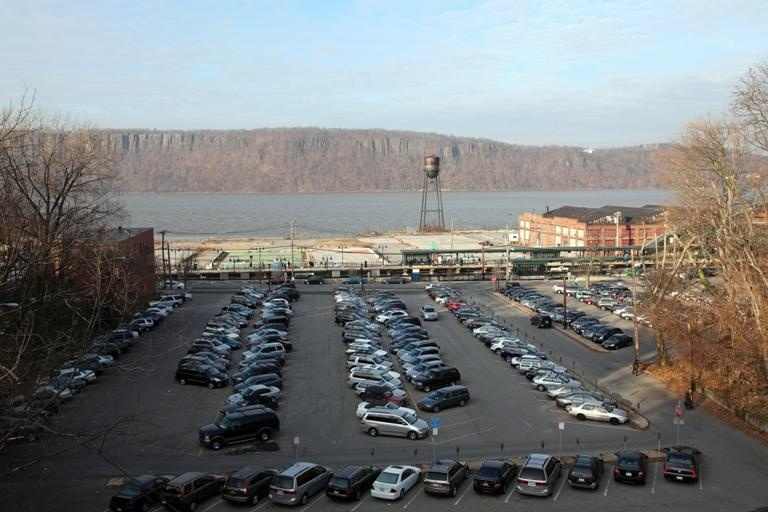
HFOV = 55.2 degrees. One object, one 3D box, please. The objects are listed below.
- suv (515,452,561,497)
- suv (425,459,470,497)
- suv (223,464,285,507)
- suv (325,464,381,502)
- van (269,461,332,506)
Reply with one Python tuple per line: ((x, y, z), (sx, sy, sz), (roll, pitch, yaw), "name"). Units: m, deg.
((9.690, 13.731, 45.949), (1.808, 1.978, 3.031), (2, 6, 37), "suv")
((3.878, 13.828, 45.802), (1.589, 1.796, 2.843), (3, 6, 41), "suv")
((-8.055, 14.034, 45.667), (3.376, 1.859, 4.060), (2, -1, -1), "suv")
((-2.036, 13.991, 45.184), (2.881, 1.748, 1.157), (-5, 6, -38), "suv")
((-5.032, 13.837, 45.179), (1.861, 1.485, 3.819), (4, 12, 31), "van")
